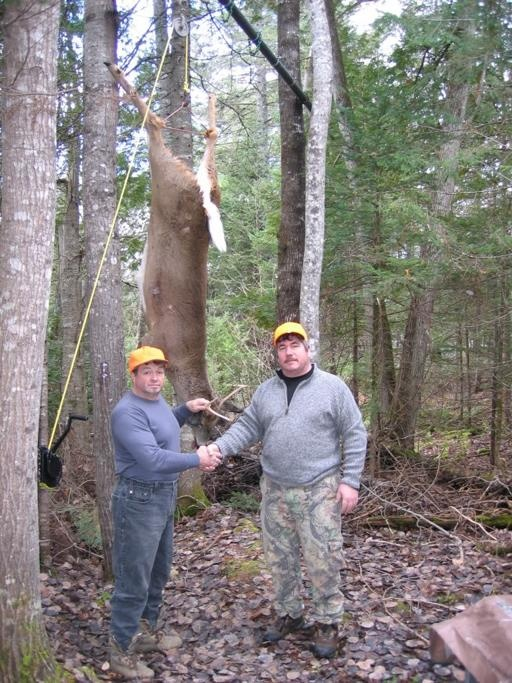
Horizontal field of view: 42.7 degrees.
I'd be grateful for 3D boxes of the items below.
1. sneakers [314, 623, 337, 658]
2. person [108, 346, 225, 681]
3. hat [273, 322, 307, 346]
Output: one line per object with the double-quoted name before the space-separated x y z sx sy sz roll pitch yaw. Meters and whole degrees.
"sneakers" 0.436 1.844 4.039 0.178 0.153 0.060 2 -23 10
"person" -0.585 1.014 3.937 0.748 1.956 0.698 -7 0 -1
"hat" 0.222 -0.060 4.235 0.153 0.177 0.186 -11 -36 4
